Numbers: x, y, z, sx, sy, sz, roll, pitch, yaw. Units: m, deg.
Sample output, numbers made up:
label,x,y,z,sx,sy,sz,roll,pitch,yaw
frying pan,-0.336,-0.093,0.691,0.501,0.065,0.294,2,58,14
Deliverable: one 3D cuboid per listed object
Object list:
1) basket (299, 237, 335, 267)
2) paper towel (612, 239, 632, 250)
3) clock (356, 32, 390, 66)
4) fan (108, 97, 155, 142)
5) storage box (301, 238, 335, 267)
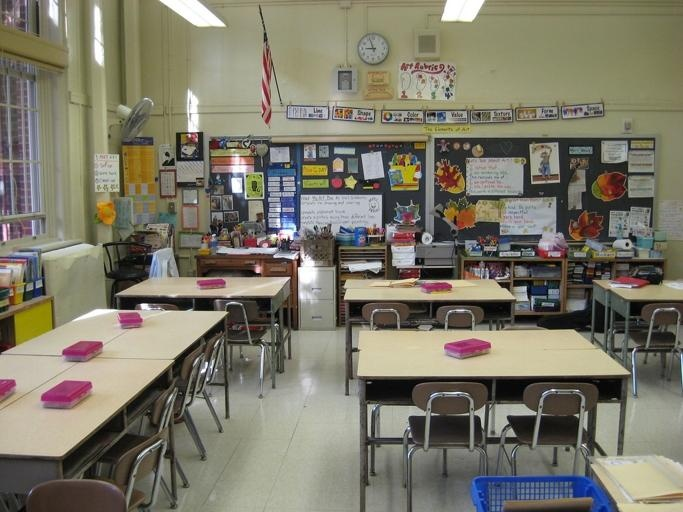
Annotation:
label,x,y,z,sx,sy,sz,roll,pitch,yaw
basket,-0.311,-0.035,7.352,0.356,0.303,0.360,1,4,2
paper towel,3.545,-0.125,7.419,0.137,0.177,0.186,-1,1,-6
clock,0.402,-2.665,7.538,0.380,0.392,0.039,-3,9,0
fan,-2.549,-1.697,7.445,0.667,0.492,0.566,2,11,20
storage box,-0.317,-0.032,7.354,0.355,0.282,0.359,1,3,2
